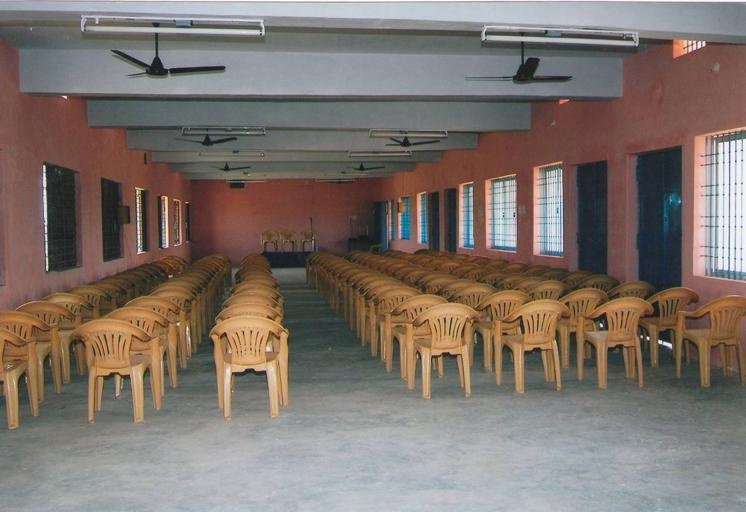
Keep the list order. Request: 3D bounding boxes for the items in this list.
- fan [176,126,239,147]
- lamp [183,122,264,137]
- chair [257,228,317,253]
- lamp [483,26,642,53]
[{"bbox_3d":[-3.409,-2.534,12.209,0.909,0.308,0.844,-1,3,-14],"label":"fan"},{"bbox_3d":[-2.801,-2.481,11.355,1.664,0.238,0.685,2,6,25],"label":"lamp"},{"bbox_3d":[-3.603,-0.681,25.376,2.437,0.987,1.716,-1,6,-6],"label":"chair"},{"bbox_3d":[2.066,-2.493,6.562,1.875,0.214,0.450,-2,6,-10],"label":"lamp"}]
